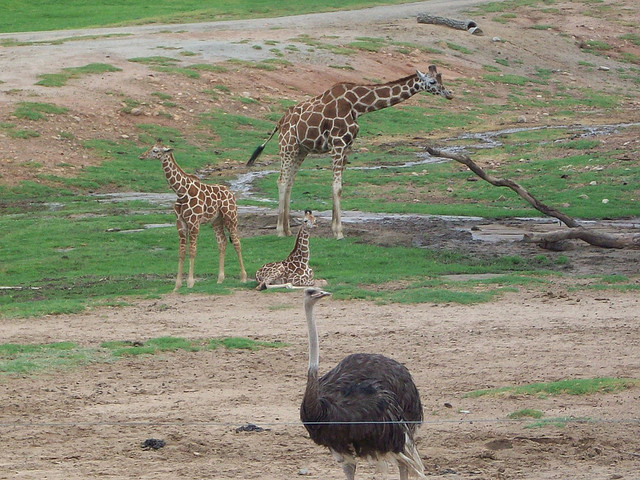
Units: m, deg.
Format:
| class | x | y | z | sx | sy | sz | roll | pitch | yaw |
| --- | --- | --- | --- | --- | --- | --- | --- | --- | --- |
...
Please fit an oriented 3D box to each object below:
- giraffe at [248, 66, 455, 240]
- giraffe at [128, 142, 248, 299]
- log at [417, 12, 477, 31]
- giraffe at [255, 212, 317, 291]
| class | x | y | z | sx | sy | sz | roll | pitch | yaw |
| --- | --- | --- | --- | --- | --- | --- | --- | --- | --- |
| giraffe | 0.779 | -2.743 | 38.628 | 4.191 | 4.935 | 4.532 | 7 | 16 | 27 |
| giraffe | -3.501 | -0.539 | 35.382 | 4.367 | 4.224 | 3.594 | 0 | 16 | 1 |
| log | 7.162 | -12.668 | 73.747 | 4.529 | 0.475 | 1.146 | 4 | 16 | 4 |
| giraffe | -0.779 | 0.325 | 33.717 | 1.893 | 1.956 | 0.995 | -10 | 19 | -33 |
